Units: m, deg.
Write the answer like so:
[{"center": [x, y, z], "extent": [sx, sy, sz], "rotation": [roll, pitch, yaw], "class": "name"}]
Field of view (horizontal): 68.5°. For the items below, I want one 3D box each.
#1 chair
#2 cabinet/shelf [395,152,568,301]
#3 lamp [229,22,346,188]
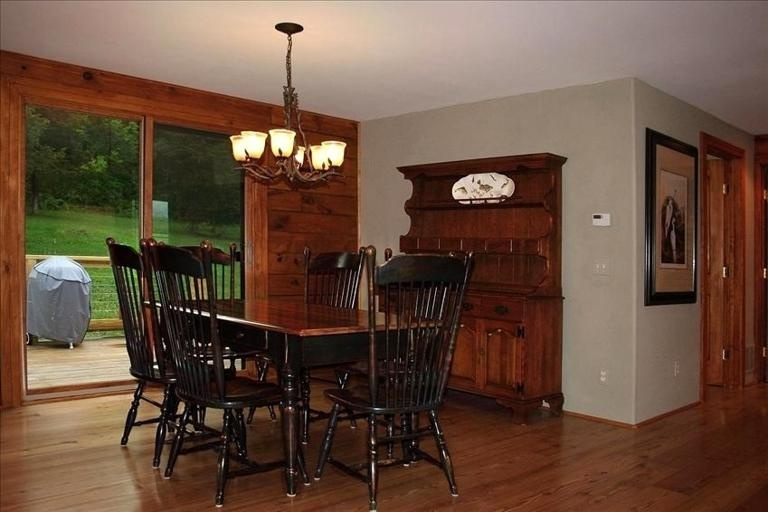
[{"center": [-0.483, 0.775, 4.638], "extent": [2.320, 1.622, 2.778], "rotation": [1, -2, 8], "class": "chair"}, {"center": [0.984, -0.275, 5.207], "extent": [1.713, 1.294, 0.461], "rotation": [-2, -4, 41], "class": "cabinet/shelf"}, {"center": [-0.911, -1.387, 5.072], "extent": [1.119, 1.272, 0.967], "rotation": [0, -15, -2], "class": "lamp"}]
